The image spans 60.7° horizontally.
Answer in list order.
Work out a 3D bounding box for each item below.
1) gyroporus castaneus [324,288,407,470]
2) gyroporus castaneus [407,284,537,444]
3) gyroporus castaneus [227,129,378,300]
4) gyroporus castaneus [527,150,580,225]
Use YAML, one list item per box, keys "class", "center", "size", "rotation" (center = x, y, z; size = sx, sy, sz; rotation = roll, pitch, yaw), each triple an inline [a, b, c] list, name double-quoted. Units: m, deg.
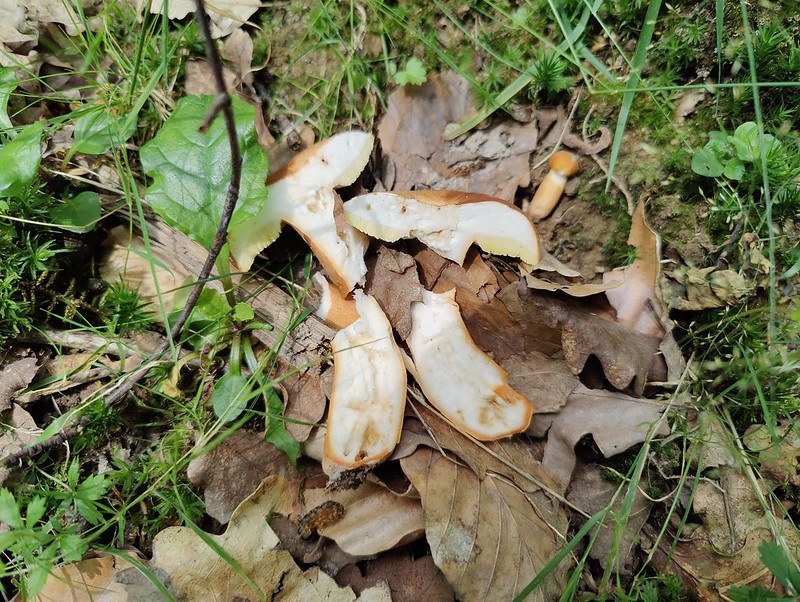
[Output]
- class: "gyroporus castaneus"
  center: [-0.107, 0.272, 2.436]
  size: [0.255, 0.127, 0.577]
  rotation: [7, 87, -11]
- class: "gyroporus castaneus"
  center: [0.213, 0.247, 2.617]
  size: [0.355, 0.149, 0.679]
  rotation: [-25, 55, -27]
- class: "gyroporus castaneus"
  center: [-0.326, -0.364, 2.626]
  size: [0.409, 0.172, 0.660]
  rotation: [23, 99, 3]
- class: "gyroporus castaneus"
  center: [0.604, -0.463, 2.771]
  size: [0.143, 0.137, 0.348]
  rotation: [30, 97, 20]
